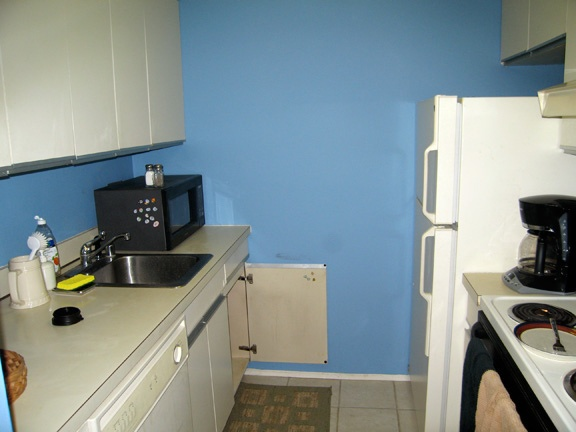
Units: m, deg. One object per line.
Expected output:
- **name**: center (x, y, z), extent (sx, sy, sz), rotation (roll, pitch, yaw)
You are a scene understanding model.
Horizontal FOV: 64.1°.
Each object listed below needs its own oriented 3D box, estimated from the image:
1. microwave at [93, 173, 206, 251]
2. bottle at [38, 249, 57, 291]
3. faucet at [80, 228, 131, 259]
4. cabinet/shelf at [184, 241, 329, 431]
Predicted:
- **microwave**: center (-0.841, -0.041, 2.813), extent (0.399, 0.395, 0.600), rotation (1, 14, 7)
- **bottle**: center (-1.145, 0.256, 2.194), extent (0.053, 0.180, 0.098), rotation (-9, 13, -30)
- **faucet**: center (-1.017, 0.152, 2.545), extent (0.229, 0.147, 0.289), rotation (-2, 12, 5)
- **cabinet/shelf**: center (-0.140, 0.844, 2.918), extent (1.057, 1.132, 0.820), rotation (0, 13, 4)
